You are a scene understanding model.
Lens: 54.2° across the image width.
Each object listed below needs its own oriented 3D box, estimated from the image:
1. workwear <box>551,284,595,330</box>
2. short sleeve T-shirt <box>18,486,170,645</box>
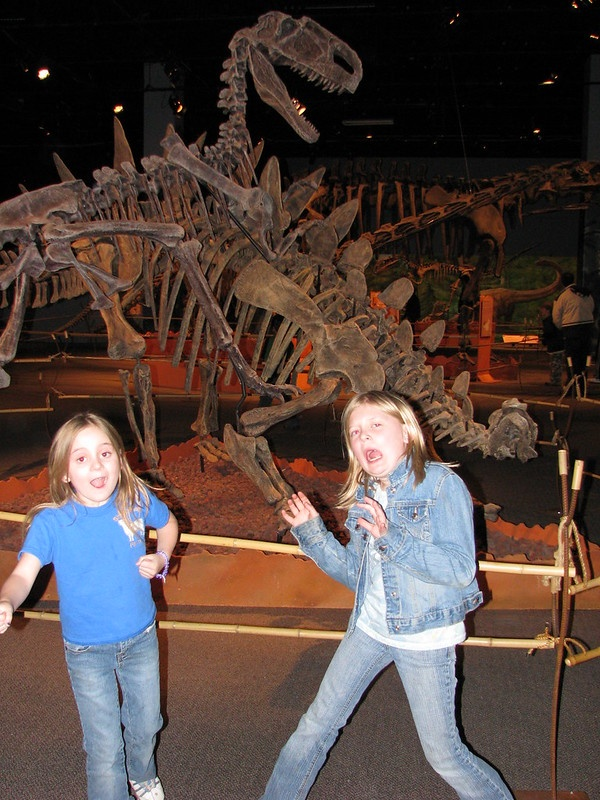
[{"bbox_3d":[4.337,-1.500,9.391,0.602,0.672,0.404,9,14,38],"label":"workwear"},{"bbox_3d":[-0.541,0.443,1.518,0.301,0.349,0.176,-4,12,-22],"label":"short sleeve T-shirt"}]
